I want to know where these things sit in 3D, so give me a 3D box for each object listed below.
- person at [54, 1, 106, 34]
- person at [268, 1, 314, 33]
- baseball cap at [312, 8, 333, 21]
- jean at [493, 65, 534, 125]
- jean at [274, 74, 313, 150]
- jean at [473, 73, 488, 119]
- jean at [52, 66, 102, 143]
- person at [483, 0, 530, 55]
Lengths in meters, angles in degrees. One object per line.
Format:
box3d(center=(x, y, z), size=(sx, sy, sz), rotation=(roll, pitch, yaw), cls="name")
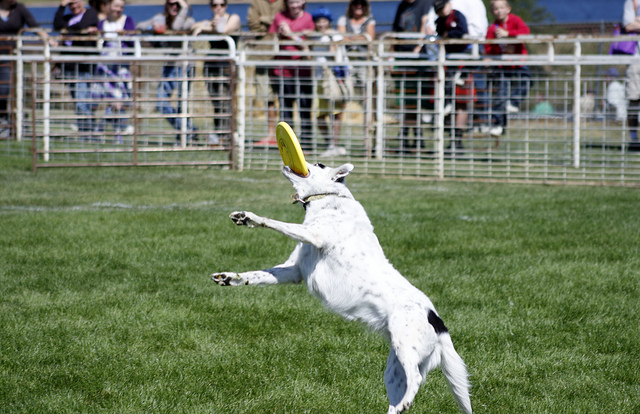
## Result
box3d(center=(-4.932, -3.955, 34.981), size=(0.742, 0.927, 0.576), rotation=(-8, -5, 32), cls="person")
box3d(center=(-0.622, -3.827, 33.710), size=(0.987, 0.995, 0.545), rotation=(-3, 12, -8), cls="person")
box3d(center=(0.094, -3.914, 33.751), size=(0.326, 0.205, 0.278), rotation=(14, -35, -36), cls="baseball cap")
box3d(center=(3.741, -2.136, 32.264), size=(0.269, 0.998, 1.018), rotation=(9, -6, -39), cls="jean")
box3d(center=(-0.455, -1.810, 31.426), size=(0.443, 1.441, 1.402), rotation=(-5, 13, -21), cls="jean")
box3d(center=(3.063, -2.127, 32.195), size=(0.298, 0.870, 0.154), rotation=(2, 4, 10), cls="jean")
box3d(center=(-4.786, -2.040, 33.541), size=(1.177, 1.482, 0.815), rotation=(5, 6, 43), cls="jean")
box3d(center=(3.627, -3.535, 32.830), size=(0.858, 1.093, 1.121), rotation=(2, 4, 6), cls="person")
